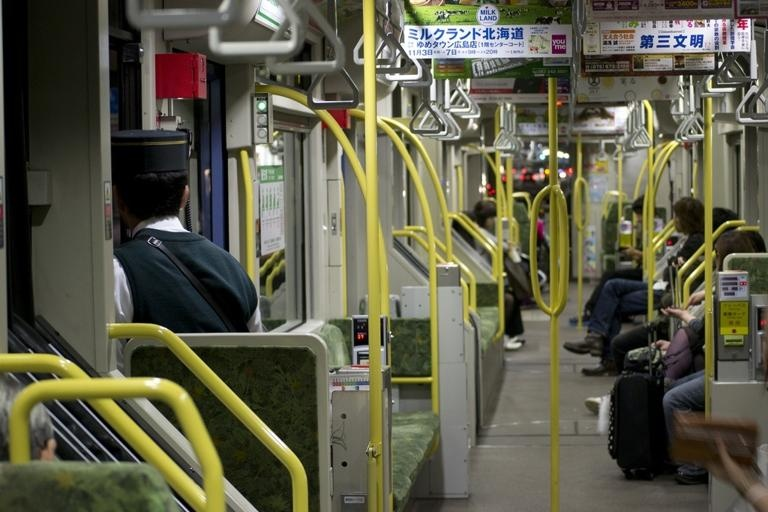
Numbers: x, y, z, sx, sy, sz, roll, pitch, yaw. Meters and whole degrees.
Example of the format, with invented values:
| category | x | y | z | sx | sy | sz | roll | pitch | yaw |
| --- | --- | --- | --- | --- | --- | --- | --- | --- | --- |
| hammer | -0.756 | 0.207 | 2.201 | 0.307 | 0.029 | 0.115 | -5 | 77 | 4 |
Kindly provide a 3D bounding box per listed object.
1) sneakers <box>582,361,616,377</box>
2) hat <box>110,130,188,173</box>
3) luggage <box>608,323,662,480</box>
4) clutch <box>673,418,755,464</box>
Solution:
| category | x | y | z | sx | sy | sz | roll | pitch | yaw |
| --- | --- | --- | --- | --- | --- | --- | --- | --- | --- |
| sneakers | 2.330 | 1.216 | 11.239 | 0.424 | 0.235 | 0.157 | 4 | -3 | -8 |
| hat | -1.118 | -0.478 | 4.808 | 0.231 | 0.131 | 0.235 | 3 | 5 | 43 |
| luggage | 1.915 | 1.099 | 7.640 | 0.466 | 1.135 | 0.250 | 0 | 4 | 0 |
| clutch | 1.302 | 0.714 | 4.082 | 0.299 | 0.196 | 0.222 | 3 | 9 | 1 |
